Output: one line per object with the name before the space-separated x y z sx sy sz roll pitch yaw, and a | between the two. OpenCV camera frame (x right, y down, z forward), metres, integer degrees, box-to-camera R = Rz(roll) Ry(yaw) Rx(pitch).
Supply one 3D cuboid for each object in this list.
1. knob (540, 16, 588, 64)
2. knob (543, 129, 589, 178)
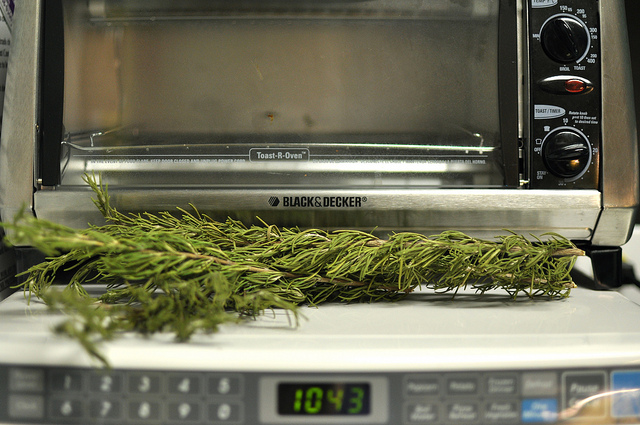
knob | 0.414 -0.295 1.034 0.076 0.081 0.024 0 4 17
knob | 0.422 -0.101 1.033 0.078 0.083 0.024 -2 4 -6
